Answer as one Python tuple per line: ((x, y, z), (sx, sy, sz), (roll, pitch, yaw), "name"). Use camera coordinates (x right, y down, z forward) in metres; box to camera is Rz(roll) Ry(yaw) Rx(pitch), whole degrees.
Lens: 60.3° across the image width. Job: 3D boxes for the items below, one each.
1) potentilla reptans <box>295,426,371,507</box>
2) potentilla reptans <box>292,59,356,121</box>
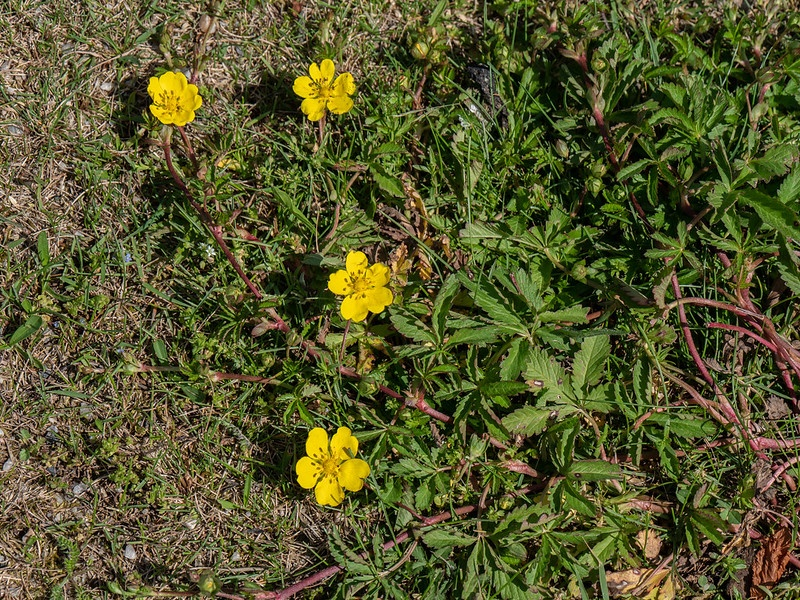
((-0.312, 0.767, 3.378), (0.342, 0.077, 0.371), (-44, 78, 19), "potentilla reptans")
((-0.389, -1.094, 3.621), (0.300, 0.143, 0.312), (-32, 65, 3), "potentilla reptans")
